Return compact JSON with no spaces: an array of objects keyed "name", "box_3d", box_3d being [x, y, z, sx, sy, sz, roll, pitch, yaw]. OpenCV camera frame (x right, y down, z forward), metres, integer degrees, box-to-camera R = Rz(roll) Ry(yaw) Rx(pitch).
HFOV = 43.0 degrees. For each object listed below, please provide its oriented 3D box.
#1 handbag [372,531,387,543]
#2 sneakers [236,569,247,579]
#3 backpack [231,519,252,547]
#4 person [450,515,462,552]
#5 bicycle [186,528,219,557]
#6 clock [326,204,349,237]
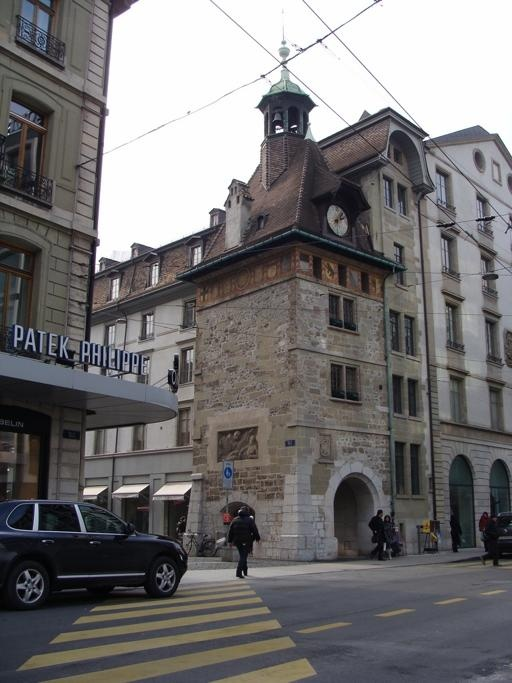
[{"name":"handbag","box_3d":[4.511,7.170,23.794,0.457,0.438,0.365,-1,-2,44]},{"name":"sneakers","box_3d":[-0.321,5.549,15.557,0.139,0.264,0.382,-4,-13,29]},{"name":"backpack","box_3d":[-0.356,4.618,15.776,0.586,0.575,0.316,-5,-19,25]},{"name":"person","box_3d":[9.092,8.743,29.781,0.399,1.565,1.272,-4,-14,15]},{"name":"bicycle","box_3d":[-2.401,8.474,27.371,1.796,1.030,0.907,-8,-23,27]},{"name":"clock","box_3d":[3.454,-5.217,28.142,0.132,1.300,1.305,-25,17,47]}]
